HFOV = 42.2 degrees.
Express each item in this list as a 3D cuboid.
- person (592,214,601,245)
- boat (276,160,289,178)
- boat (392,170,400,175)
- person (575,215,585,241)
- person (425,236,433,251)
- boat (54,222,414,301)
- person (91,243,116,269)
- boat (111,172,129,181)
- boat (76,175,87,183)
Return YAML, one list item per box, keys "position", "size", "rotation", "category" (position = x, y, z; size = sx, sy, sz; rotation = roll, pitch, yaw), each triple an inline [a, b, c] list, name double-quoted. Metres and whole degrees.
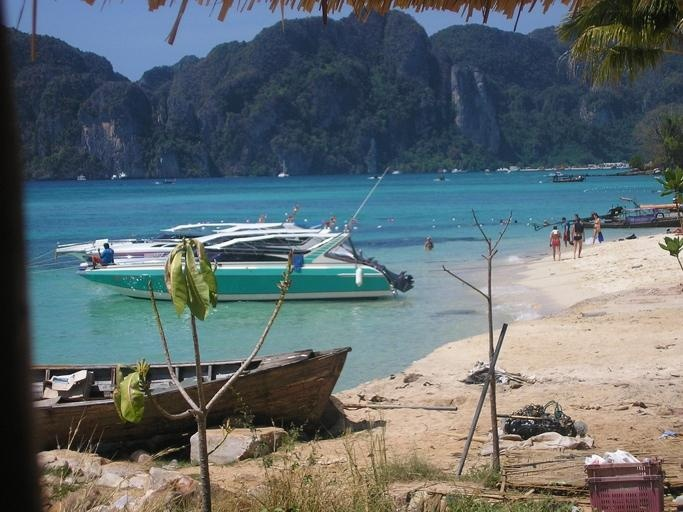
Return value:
- position: [10.782, -1.183, 37.206]
  size: [0.333, 1.241, 2.690]
  rotation: [-1, 3, 16]
  category: "person"
- position: [-13.539, -21.036, 210.629]
  size: [2.592, 4.329, 7.166]
  rotation: [-2, 3, -4]
  category: "boat"
- position: [13.427, -20.881, 218.988]
  size: [1.461, 0.796, 2.108]
  rotation: [0, 3, 1]
  category: "boat"
- position: [8.674, -0.981, 32.380]
  size: [0.287, 0.791, 1.339]
  rotation: [-1, 3, 14]
  category: "person"
- position: [3.669, -0.505, 37.013]
  size: [0.300, 0.834, 0.337]
  rotation: [6, -2, 30]
  category: "person"
- position: [-2.854, 0.180, 25.738]
  size: [9.513, 2.277, 5.121]
  rotation: [-1, 3, 26]
  category: "boat"
- position: [-7.041, 0.007, 26.312]
  size: [0.600, 0.880, 0.405]
  rotation: [20, 23, 30]
  category: "person"
- position: [-49.535, -18.252, 200.508]
  size: [4.280, 1.840, 1.326]
  rotation: [-6, 12, -3]
  category: "boat"
- position: [-55.295, -16.620, 188.393]
  size: [1.232, 0.723, 1.911]
  rotation: [-1, -6, -5]
  category: "boat"
